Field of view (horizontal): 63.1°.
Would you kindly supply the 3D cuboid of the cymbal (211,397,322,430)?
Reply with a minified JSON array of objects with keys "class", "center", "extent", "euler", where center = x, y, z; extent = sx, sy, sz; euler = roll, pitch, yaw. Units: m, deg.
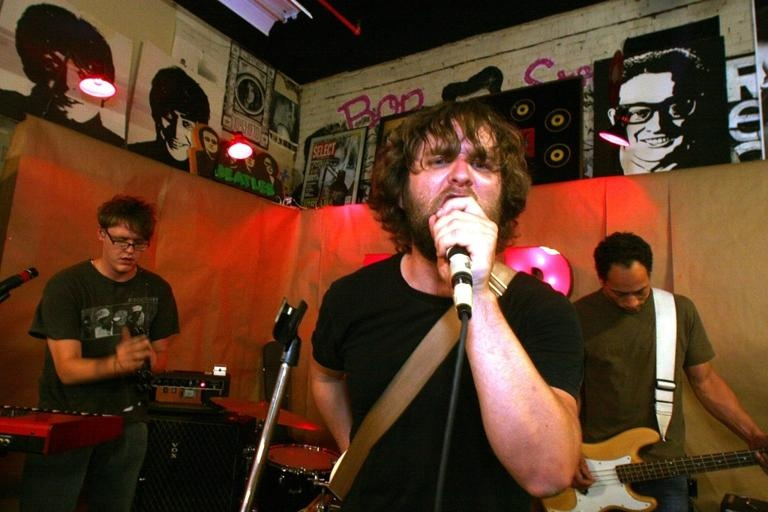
[{"class":"cymbal","center":[-1.133,1.400,5.667],"extent":[0.681,0.114,0.660],"euler":[4,-19,34]}]

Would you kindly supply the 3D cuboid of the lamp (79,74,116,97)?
[{"class":"lamp","center":[-2.836,-1.647,6.240],"extent":[0.340,0.140,0.332],"euler":[3,-15,-4]}]

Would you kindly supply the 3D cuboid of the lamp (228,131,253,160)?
[{"class":"lamp","center":[-1.718,-1.329,7.416],"extent":[0.259,0.365,0.615],"euler":[0,-5,-15]}]
